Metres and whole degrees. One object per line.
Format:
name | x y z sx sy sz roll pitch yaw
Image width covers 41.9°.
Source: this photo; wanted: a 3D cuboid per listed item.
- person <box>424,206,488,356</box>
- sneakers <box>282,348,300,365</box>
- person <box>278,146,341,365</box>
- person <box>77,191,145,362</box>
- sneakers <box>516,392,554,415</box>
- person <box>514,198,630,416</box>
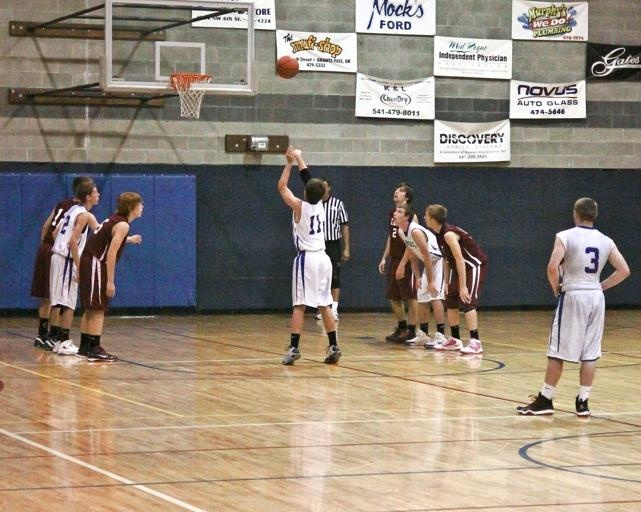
person | 1.645 0.261 10.192 0.697 1.793 1.341 1 3 11
sneakers | -0.294 1.054 9.022 0.101 0.135 0.291 12 -43 -30
person | -0.112 -0.020 9.281 0.684 2.359 1.174 0 3 0
person | -2.342 0.223 9.098 0.586 1.823 0.693 -2 4 -43
sneakers | 1.789 1.219 6.971 0.301 0.199 0.148 1 -4 3
person | 2.074 0.421 6.841 0.818 1.774 0.353 0 3 -15
